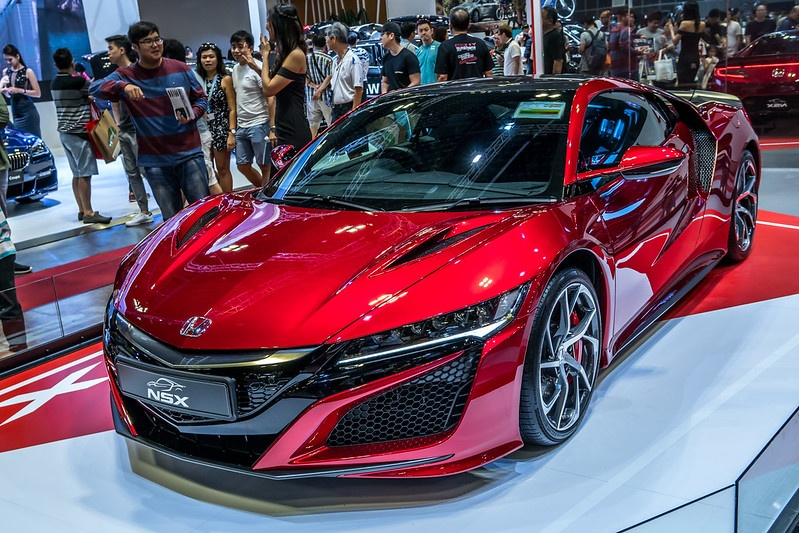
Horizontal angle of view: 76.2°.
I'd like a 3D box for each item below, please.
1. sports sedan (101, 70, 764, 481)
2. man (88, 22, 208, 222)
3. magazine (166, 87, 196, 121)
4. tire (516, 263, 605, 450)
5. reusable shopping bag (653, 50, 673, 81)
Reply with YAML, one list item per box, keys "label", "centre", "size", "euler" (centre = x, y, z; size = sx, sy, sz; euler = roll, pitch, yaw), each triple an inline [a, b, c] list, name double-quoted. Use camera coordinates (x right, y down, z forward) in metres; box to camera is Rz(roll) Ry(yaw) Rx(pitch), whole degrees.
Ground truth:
- label: "sports sedan"
  centre: [0.540, -0.079, 2.883]
  size: [2.034, 0.886, 3.312]
  euler: [13, 25, 35]
- label: "man"
  centre: [-2.338, -1.200, 5.008]
  size: [1.000, 2.087, 0.709]
  euler: [-16, 33, -27]
- label: "magazine"
  centre: [-1.955, -1.515, 4.708]
  size: [0.225, 0.292, 0.073]
  euler: [30, 57, 33]
- label: "tire"
  centre: [0.780, 0.443, 2.418]
  size: [0.213, 0.736, 0.766]
  euler: [7, -20, 31]
- label: "reusable shopping bag"
  centre: [4.667, -3.590, 8.998]
  size: [0.408, 0.589, 0.187]
  euler: [-13, 23, -6]
